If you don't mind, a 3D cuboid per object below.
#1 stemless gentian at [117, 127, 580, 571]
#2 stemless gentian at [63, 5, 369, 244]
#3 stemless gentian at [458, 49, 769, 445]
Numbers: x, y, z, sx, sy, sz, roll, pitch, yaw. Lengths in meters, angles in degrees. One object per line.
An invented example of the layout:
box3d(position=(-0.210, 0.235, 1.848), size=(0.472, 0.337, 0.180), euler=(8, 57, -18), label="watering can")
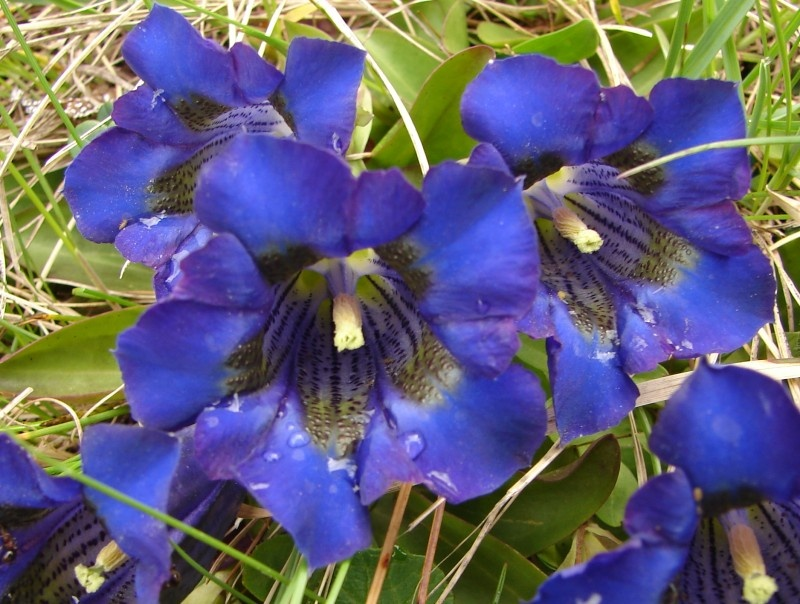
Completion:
box3d(position=(-0.081, 0.056, 1.230), size=(0.535, 0.550, 0.283), euler=(4, 17, -3), label="stemless gentian")
box3d(position=(-0.276, -0.174, 1.237), size=(0.369, 0.389, 0.180), euler=(-1, 2, 22), label="stemless gentian")
box3d(position=(0.298, -0.150, 1.397), size=(0.522, 0.504, 0.271), euler=(-33, 13, 0), label="stemless gentian")
